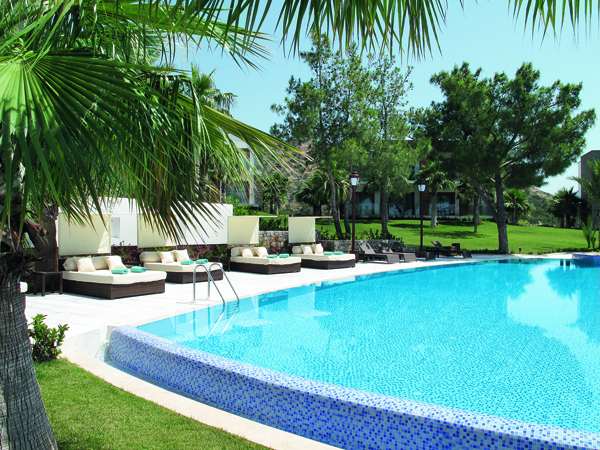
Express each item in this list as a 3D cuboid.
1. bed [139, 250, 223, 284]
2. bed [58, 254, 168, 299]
[{"bbox_3d":[-3.552,1.224,14.486,1.790,0.988,1.401,1,0,43],"label":"bed"},{"bbox_3d":[-4.699,1.298,12.244,2.315,0.846,1.508,4,3,30],"label":"bed"}]
